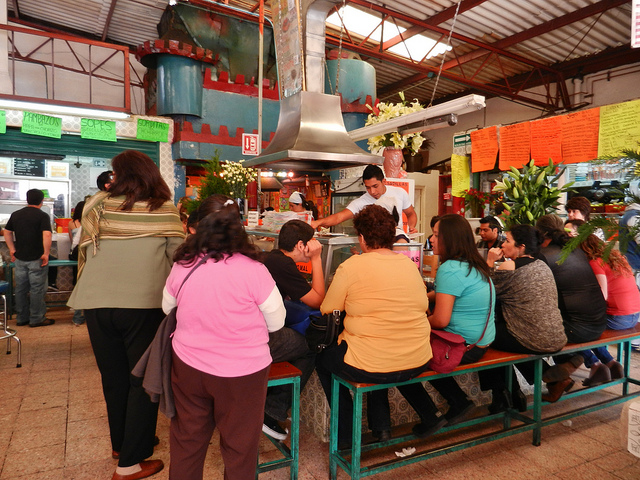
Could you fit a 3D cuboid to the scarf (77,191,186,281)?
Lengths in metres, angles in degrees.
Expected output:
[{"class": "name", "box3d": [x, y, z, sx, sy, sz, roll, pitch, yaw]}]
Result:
[{"class": "scarf", "box3d": [-1.473, 0.031, 3.839, 0.595, 0.671, 0.729, 7, -18, -43]}]

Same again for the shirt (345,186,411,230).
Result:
[{"class": "shirt", "box3d": [0.620, -0.327, 4.871, 0.585, 0.294, 0.941, 6, 7, 7]}]

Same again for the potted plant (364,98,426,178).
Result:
[{"class": "potted plant", "box3d": [0.927, -1.112, 5.780, 0.532, 0.710, 0.511, 6, 2, -3]}]

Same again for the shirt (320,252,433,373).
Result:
[{"class": "shirt", "box3d": [0.458, 0.512, 3.887, 0.836, 0.828, 0.733, -3, 7, -10]}]

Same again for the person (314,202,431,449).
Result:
[{"class": "person", "box3d": [0.411, 0.540, 3.755, 0.883, 1.603, 0.358, -2, 7, -1]}]

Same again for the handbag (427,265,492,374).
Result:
[{"class": "handbag", "box3d": [1.060, 0.781, 3.782, 0.301, 0.516, 0.409, 9, -10, -2]}]

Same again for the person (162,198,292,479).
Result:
[{"class": "person", "box3d": [-0.619, 0.642, 3.220, 0.790, 1.797, 0.336, -3, 7, -10]}]

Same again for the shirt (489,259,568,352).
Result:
[{"class": "shirt", "box3d": [1.795, 0.514, 4.389, 0.565, 0.581, 0.895, 0, 20, -4]}]

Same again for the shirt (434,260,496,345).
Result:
[{"class": "shirt", "box3d": [1.230, 0.498, 4.152, 0.386, 0.651, 0.711, 0, -3, 43]}]

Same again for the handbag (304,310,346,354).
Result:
[{"class": "handbag", "box3d": [0.025, 0.689, 3.788, 0.349, 0.310, 0.360, -1, -1, -18]}]

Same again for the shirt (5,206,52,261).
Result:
[{"class": "shirt", "box3d": [-3.873, -0.097, 6.533, 0.526, 0.724, 0.205, -5, 7, -23]}]

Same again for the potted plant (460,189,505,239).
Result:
[{"class": "potted plant", "box3d": [2.519, -0.402, 7.787, 0.671, 0.787, 0.597, 7, 10, 10]}]

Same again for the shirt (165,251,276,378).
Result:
[{"class": "shirt", "box3d": [-0.667, 0.456, 3.274, 0.795, 0.762, 0.452, 4, 23, 10]}]

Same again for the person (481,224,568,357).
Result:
[{"class": "person", "box3d": [1.840, 0.407, 4.506, 0.771, 1.032, 0.878, -10, 14, -40]}]

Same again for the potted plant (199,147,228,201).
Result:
[{"class": "potted plant", "box3d": [-1.606, -1.006, 7.293, 0.386, 0.736, 1.108, -3, 7, -13]}]

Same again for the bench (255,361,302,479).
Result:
[{"class": "bench", "box3d": [-0.312, 1.383, 3.774, 0.372, 0.874, 0.436, -2, 7, -4]}]

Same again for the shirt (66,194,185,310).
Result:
[{"class": "shirt", "box3d": [-1.462, -0.023, 3.741, 0.761, 0.720, 0.439, 1, 23, -26]}]
